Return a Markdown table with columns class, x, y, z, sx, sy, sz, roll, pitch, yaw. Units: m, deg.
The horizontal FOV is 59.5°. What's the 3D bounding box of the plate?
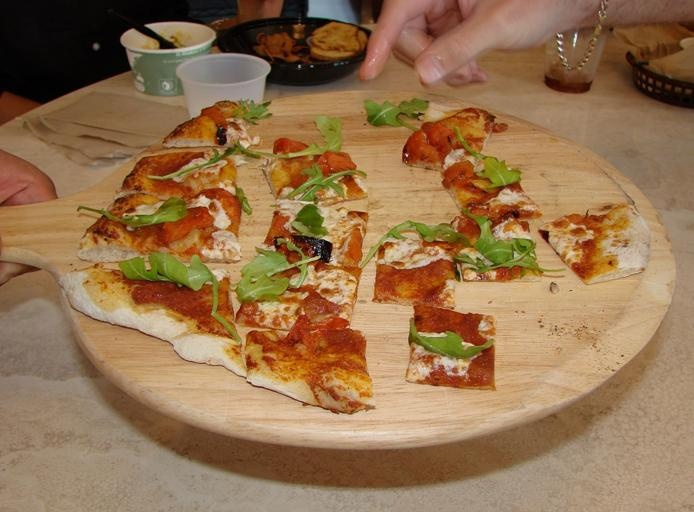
| class | x | y | z | sx | sy | sz | roll | pitch | yaw |
| --- | --- | --- | --- | --- | --- | --- | --- | --- | --- |
| plate | -0.300 | -1.210 | 3.545 | 0.906 | 0.118 | 0.515 | -1 | 30 | 0 |
